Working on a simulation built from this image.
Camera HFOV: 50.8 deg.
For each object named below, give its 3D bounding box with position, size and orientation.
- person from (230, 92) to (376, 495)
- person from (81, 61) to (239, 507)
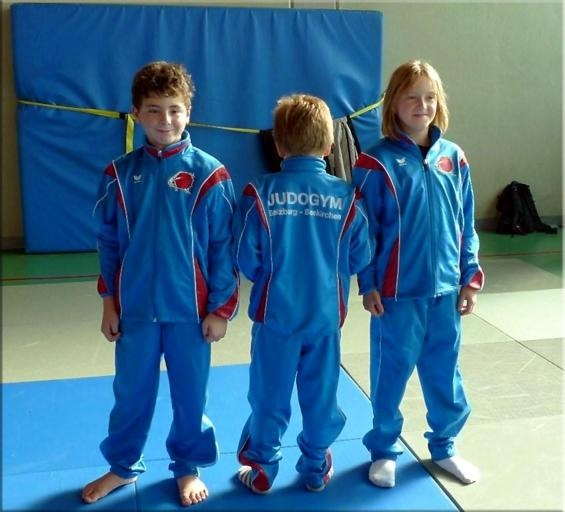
[{"bbox_3d":[0.068,0.137,2.039,0.473,1.326,0.271,-2,13,-7],"label":"person"},{"bbox_3d":[-0.417,0.093,2.009,0.521,1.430,0.366,1,13,3],"label":"person"}]
